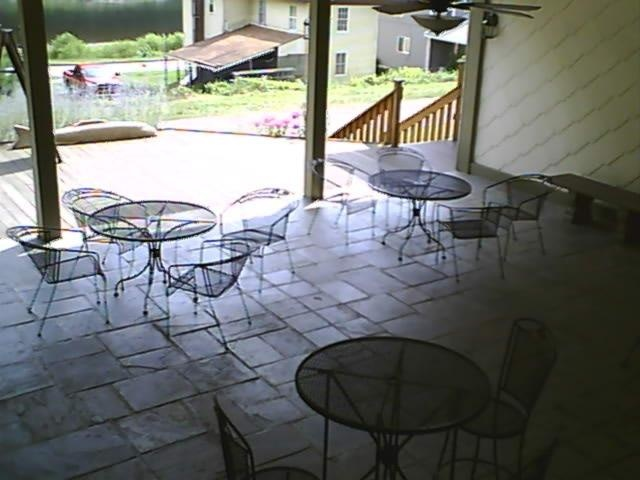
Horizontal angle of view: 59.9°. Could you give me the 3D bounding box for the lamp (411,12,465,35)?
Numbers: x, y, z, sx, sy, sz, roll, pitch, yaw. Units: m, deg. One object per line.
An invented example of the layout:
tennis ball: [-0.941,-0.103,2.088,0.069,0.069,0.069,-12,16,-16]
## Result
lamp: [0.983,-1.793,4.544,0.417,0.176,0.392,6,24,14]

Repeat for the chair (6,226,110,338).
chair: [-2.644,0.457,5.567,0.971,0.926,0.723,-11,38,-26]

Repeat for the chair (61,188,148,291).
chair: [-2.381,0.041,6.091,1.077,1.065,0.895,2,39,-1]

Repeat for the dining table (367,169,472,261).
dining table: [1.192,-0.296,7.213,1.577,0.879,1.282,4,27,4]

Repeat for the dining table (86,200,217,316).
dining table: [-1.782,0.227,6.077,1.514,0.881,1.357,18,28,21]
